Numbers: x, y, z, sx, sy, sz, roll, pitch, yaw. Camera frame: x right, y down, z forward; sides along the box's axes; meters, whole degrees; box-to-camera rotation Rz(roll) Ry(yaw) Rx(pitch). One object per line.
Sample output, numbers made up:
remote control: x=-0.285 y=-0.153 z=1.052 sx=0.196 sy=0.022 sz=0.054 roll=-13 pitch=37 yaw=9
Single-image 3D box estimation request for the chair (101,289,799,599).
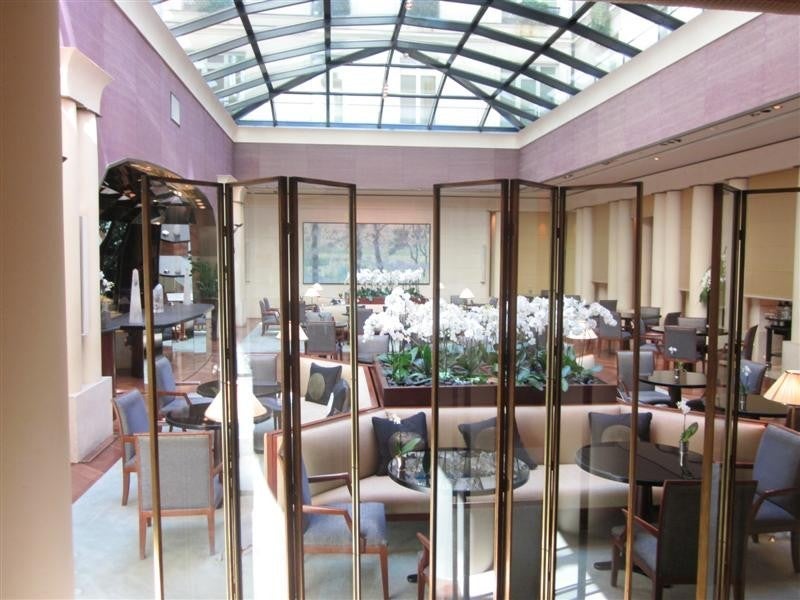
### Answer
chair: x=0.223 y=0.929 z=4.437 sx=4.362 sy=1.964 sz=2.444 roll=1 pitch=3 yaw=-12
